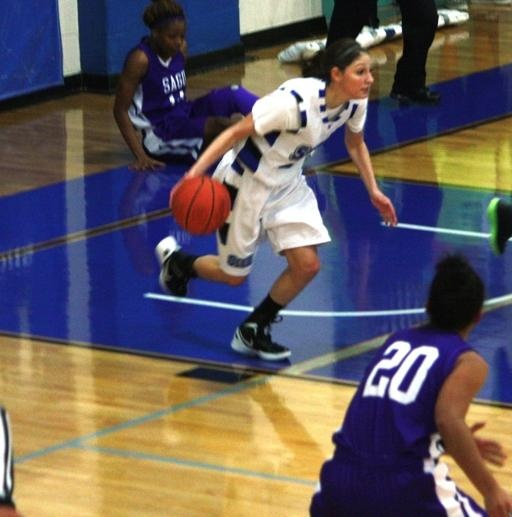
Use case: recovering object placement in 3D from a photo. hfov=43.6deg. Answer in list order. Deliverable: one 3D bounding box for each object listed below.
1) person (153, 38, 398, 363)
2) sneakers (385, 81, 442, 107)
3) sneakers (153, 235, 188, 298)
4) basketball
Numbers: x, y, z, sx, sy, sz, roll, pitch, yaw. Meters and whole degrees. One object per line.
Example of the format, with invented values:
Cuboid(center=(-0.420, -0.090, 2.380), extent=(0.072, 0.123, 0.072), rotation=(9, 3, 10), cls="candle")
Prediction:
Cuboid(center=(0.058, -0.203, 2.384), extent=(0.806, 1.259, 0.486), rotation=(8, 25, 5), cls="person")
Cuboid(center=(1.365, -1.408, 5.550), extent=(0.431, 0.233, 0.170), rotation=(0, 36, 5), cls="sneakers")
Cuboid(center=(-0.401, 0.029, 2.803), extent=(0.122, 0.148, 0.371), rotation=(42, -1, -13), cls="sneakers")
Cuboid(center=(-0.175, -0.189, 2.085), extent=(0.181, 0.203, 0.181), rotation=(1, 10, -4), cls="basketball")
